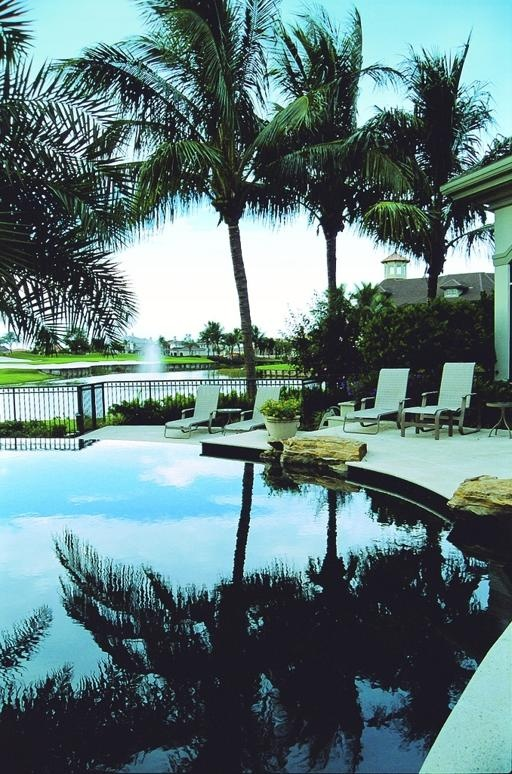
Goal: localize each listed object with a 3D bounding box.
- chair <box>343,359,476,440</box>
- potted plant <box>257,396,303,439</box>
[{"bbox_3d":[3.142,0.187,10.908,1.282,1.191,2.458,0,4,22],"label":"chair"},{"bbox_3d":[0.437,0.502,10.530,0.602,0.707,0.602,-1,-3,-2],"label":"potted plant"}]
